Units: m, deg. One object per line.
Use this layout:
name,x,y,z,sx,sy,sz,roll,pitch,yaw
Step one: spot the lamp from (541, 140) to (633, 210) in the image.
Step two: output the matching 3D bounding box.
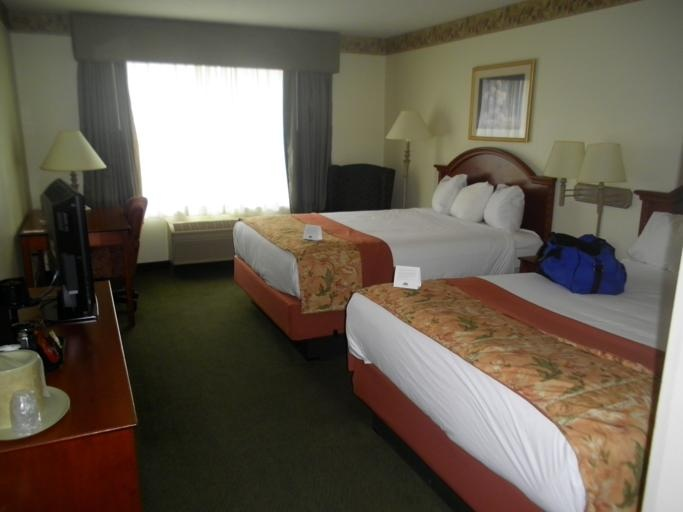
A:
lamp,2.285,-0.735,4.701,0.444,0.679,0.750,-13,18,-23

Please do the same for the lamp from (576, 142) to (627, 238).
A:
lamp,2.265,-0.560,4.427,0.426,0.822,0.411,4,4,-8

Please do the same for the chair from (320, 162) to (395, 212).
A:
chair,0.276,-0.982,7.996,0.826,0.944,0.743,1,1,0

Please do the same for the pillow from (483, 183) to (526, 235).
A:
pillow,1.750,-0.493,5.575,0.338,0.573,0.606,-6,6,-26

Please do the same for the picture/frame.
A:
picture/frame,1.871,-1.778,5.948,0.030,0.884,0.913,-7,16,-30
